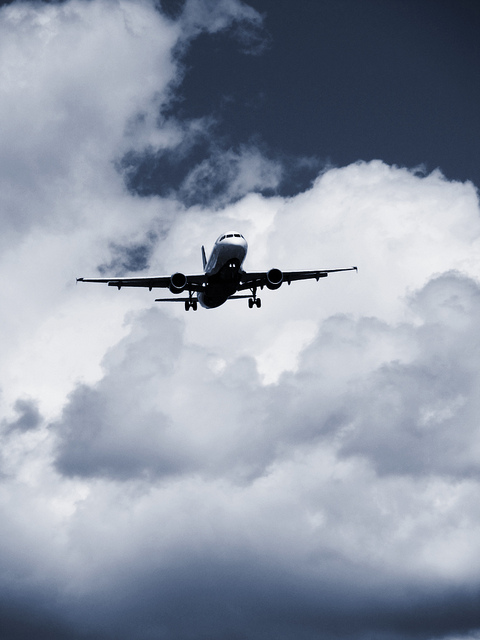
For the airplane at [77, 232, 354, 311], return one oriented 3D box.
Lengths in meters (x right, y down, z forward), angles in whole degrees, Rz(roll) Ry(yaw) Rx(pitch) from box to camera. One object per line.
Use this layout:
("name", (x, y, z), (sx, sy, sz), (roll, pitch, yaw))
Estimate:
("airplane", (-2.261, -3.770, 109.784), (11.028, 8.372, 11.860), (1, 17, 33))
